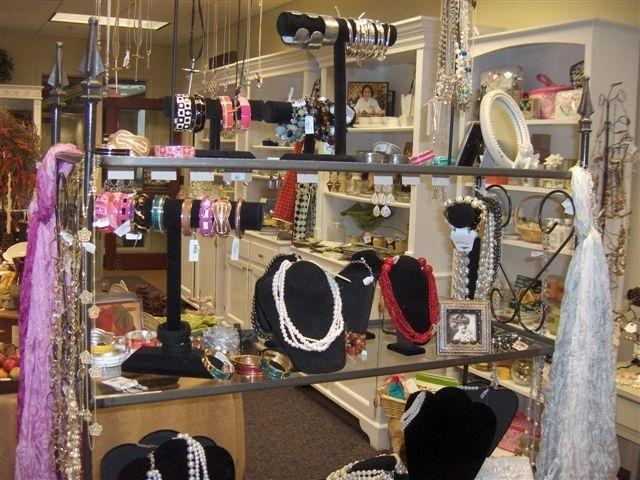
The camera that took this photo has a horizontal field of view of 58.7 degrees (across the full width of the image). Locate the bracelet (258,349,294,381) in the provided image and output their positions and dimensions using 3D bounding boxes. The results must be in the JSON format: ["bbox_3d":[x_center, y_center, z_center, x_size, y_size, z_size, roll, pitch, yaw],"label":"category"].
[{"bbox_3d":[-0.144,0.410,1.876,0.108,0.045,0.140,1,12,-2],"label":"bracelet"}]

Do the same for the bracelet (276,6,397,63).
[{"bbox_3d":[0.054,-0.717,1.995,0.427,0.135,0.136,-4,13,-27],"label":"bracelet"}]

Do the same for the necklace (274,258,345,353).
[{"bbox_3d":[-0.041,0.227,1.956,0.247,0.265,0.208,1,11,-4],"label":"necklace"}]

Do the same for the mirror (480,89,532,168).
[{"bbox_3d":[0.705,-0.425,2.191,0.058,0.296,0.280,-14,-5,38],"label":"mirror"}]

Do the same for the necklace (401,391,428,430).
[{"bbox_3d":[0.346,0.631,2.102,0.186,0.046,0.052,-36,-1,-37],"label":"necklace"}]

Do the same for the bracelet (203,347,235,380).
[{"bbox_3d":[-0.332,0.404,1.857,0.083,0.024,0.084,35,22,-39],"label":"bracelet"}]

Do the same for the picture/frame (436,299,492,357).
[{"bbox_3d":[0.534,0.335,2.127,0.181,0.198,0.019,1,-11,-7],"label":"picture/frame"}]

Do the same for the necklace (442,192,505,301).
[{"bbox_3d":[0.607,0.030,2.299,0.226,0.436,0.163,-7,14,-38],"label":"necklace"}]
